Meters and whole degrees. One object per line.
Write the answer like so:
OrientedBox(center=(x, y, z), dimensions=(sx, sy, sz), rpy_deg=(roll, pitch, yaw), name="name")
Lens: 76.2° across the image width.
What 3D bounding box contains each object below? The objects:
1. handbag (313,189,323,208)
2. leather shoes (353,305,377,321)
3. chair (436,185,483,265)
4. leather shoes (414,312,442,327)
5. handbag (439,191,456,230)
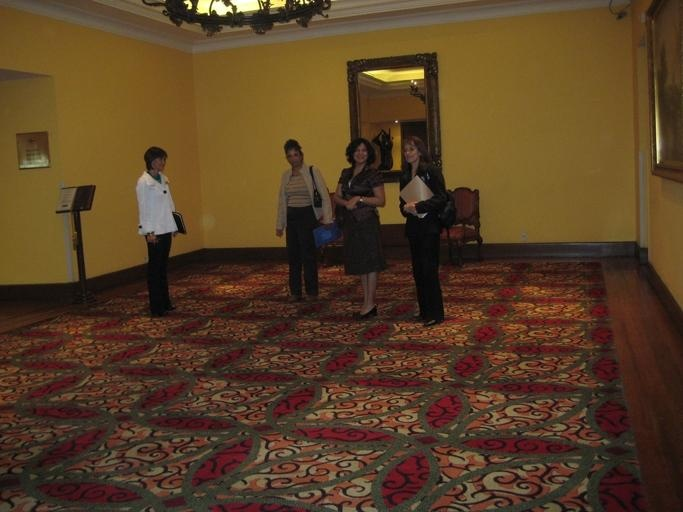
OrientedBox(center=(-0.340, -0.804, 6.225), dimensions=(0.132, 0.248, 0.070), rpy_deg=(-2, 8, 7), name="handbag")
OrientedBox(center=(0.300, 0.736, 5.452), dimensions=(0.289, 0.106, 0.144), rpy_deg=(0, 3, -6), name="leather shoes")
OrientedBox(center=(2.370, -0.637, 8.643), dimensions=(1.055, 1.241, 0.945), rpy_deg=(-20, 18, -40), name="chair")
OrientedBox(center=(1.022, 0.756, 5.146), dimensions=(0.343, 0.120, 0.108), rpy_deg=(8, 1, 17), name="leather shoes")
OrientedBox(center=(1.210, -0.500, 4.939), dimensions=(0.164, 0.439, 0.467), rpy_deg=(-1, 8, 13), name="handbag")
